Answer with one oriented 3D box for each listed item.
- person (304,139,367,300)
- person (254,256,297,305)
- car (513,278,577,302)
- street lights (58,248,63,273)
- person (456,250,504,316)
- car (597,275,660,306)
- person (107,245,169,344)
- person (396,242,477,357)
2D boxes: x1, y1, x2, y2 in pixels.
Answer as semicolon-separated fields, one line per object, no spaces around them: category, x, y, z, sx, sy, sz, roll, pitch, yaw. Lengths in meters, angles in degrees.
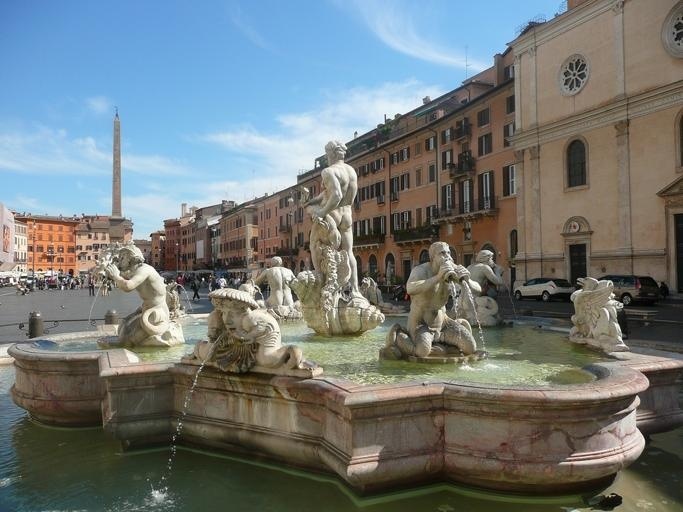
person;-0.129;-0.686;10.180;0.864;2.714;0.638;-1;-2;-3
person;-1.447;0.696;12.501;0.991;1.334;0.888;0;-5;-7
car;10.363;1.675;28.707;1.177;0.822;2.394;0;0;-21
street lights;-57.288;0.149;116.309;0.653;4.222;0.881;-2;-2;43
person;2.660;0.615;10.934;0.886;1.399;0.990;-2;2;-43
car;12.372;1.440;23.880;1.766;1.212;1.282;-2;-2;43
person;-3.012;0.571;8.479;0.928;1.518;0.697;0;-2;-27
person;1.211;0.554;7.365;1.027;1.439;0.683;-1;-1;12
